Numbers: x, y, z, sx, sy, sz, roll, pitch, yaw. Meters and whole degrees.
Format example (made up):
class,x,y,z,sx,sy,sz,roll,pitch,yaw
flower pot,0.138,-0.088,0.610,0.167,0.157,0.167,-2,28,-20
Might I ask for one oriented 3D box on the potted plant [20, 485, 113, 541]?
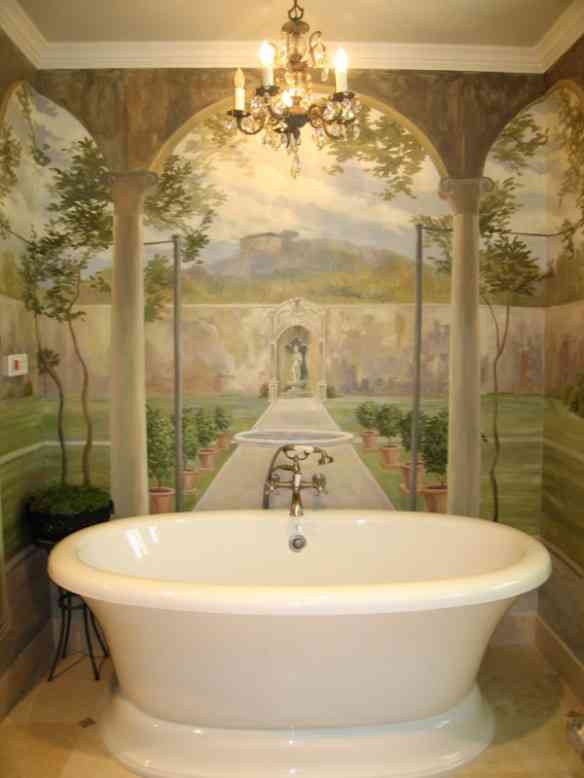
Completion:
class,x,y,z,sx,sy,sz,roll,pitch,yaw
potted plant,-0.975,0.547,2.443,0.341,0.213,0.368,5,4,-16
